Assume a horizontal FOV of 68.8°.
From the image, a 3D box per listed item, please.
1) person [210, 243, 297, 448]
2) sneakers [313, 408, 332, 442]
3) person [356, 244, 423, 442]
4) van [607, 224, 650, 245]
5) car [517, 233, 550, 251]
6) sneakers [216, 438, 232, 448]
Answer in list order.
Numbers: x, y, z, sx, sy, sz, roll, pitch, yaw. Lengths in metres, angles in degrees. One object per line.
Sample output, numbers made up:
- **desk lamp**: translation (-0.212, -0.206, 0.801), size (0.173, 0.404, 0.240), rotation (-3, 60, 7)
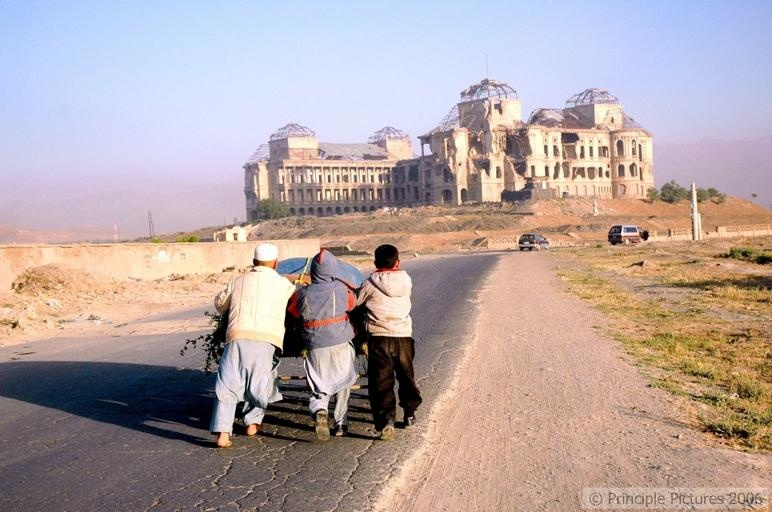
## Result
- **person**: translation (-1.744, 1.122, 7.255), size (1.101, 2.525, 0.670), rotation (-3, 4, -21)
- **sneakers**: translation (-0.799, 2.112, 7.081), size (0.195, 0.405, 0.174), rotation (-8, -14, 4)
- **person**: translation (0.084, 1.098, 7.339), size (0.703, 2.473, 0.714), rotation (-3, 4, -21)
- **van**: translation (26.319, -2.296, 62.333), size (3.131, 1.982, 1.610), rotation (-2, 3, -6)
- **car**: translation (15.972, -1.529, 61.333), size (2.990, 1.718, 2.281), rotation (-2, 3, -8)
- **sneakers**: translation (-2.004, 2.311, 7.052), size (0.107, 0.086, 0.220), rotation (2, 6, 4)
